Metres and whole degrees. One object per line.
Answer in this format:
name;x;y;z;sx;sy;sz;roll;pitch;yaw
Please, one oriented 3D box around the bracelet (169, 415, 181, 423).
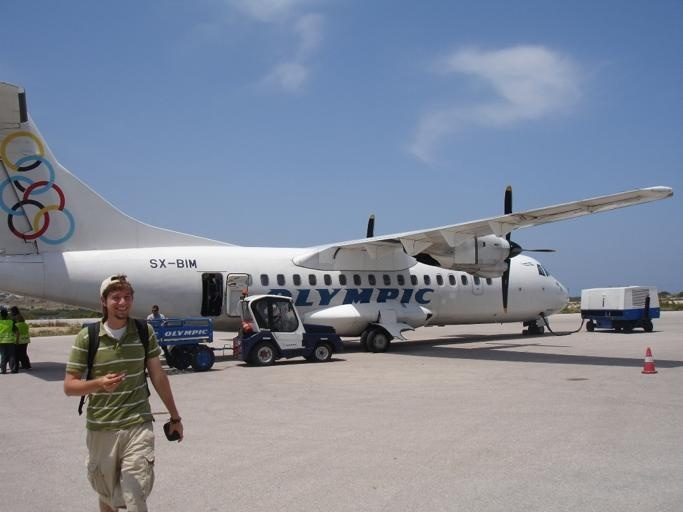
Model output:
bracelet;-1.582;1.555;5.759;0.069;0.035;0.080;2;0;-14
